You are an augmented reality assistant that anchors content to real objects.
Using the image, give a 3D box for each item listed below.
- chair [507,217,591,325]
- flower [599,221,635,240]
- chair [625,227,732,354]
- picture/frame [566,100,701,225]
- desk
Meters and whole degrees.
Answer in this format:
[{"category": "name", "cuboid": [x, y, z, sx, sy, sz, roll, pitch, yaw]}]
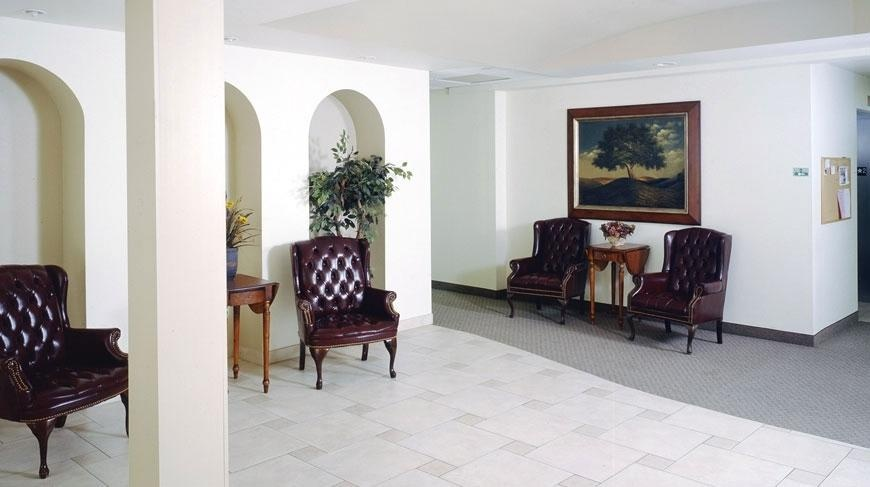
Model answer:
[{"category": "chair", "cuboid": [1.890, 0.398, 8.761, 1.266, 1.471, 1.269, -5, 7, -28]}, {"category": "flower", "cuboid": [2.918, -0.214, 8.506, 0.409, 0.196, 0.357, -4, 7, -25]}, {"category": "chair", "cuboid": [3.619, 0.613, 7.847, 1.216, 1.605, 1.048, -11, 15, -41]}, {"category": "picture/frame", "cuboid": [3.260, -1.321, 8.621, 2.227, 1.816, 0.154, 2, 5, 32]}, {"category": "desk", "cuboid": [-2.261, 1.049, 6.720, 0.605, 1.325, 1.056, -6, 12, -21]}]
